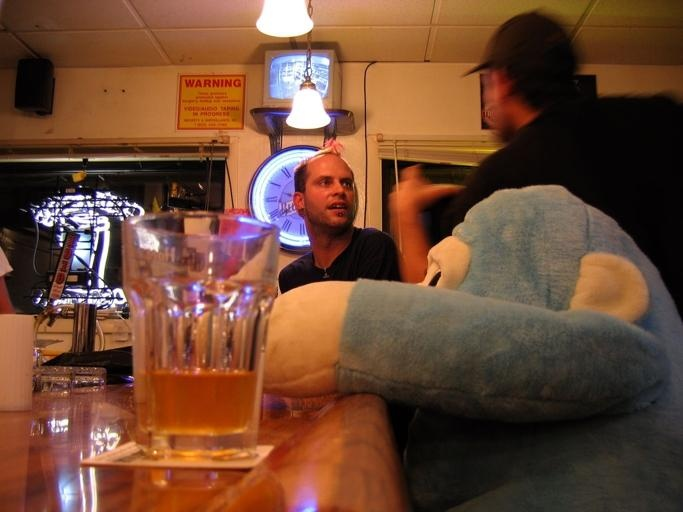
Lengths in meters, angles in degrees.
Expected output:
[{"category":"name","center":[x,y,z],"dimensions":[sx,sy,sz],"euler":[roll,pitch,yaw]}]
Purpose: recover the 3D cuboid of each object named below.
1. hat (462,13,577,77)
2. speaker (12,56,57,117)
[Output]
[{"category":"hat","center":[0.242,-0.293,0.815],"dimensions":[0.115,0.061,0.085],"euler":[6,8,27]},{"category":"speaker","center":[-1.685,-0.995,3.282],"dimensions":[0.171,0.307,0.149],"euler":[1,1,-10]}]
